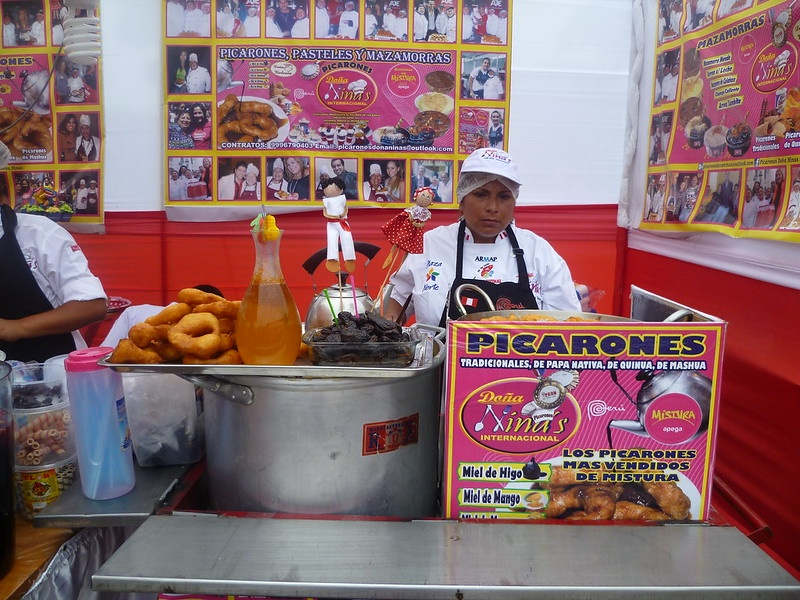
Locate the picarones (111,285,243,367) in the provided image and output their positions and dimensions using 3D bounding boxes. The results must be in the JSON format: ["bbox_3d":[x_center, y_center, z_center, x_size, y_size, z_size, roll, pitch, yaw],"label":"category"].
[{"bbox_3d":[-0.788,0.083,2.204,0.262,0.099,0.261,8,20,25],"label":"picarones"}]

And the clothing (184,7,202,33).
[{"bbox_3d":[-1.152,-1.567,3.561,0.122,0.119,0.067,3,11,-6],"label":"clothing"}]

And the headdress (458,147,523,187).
[{"bbox_3d":[0.424,-0.617,2.945,0.264,0.162,0.167,0,13,-4],"label":"headdress"}]

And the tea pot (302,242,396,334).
[{"bbox_3d":[-0.160,-0.056,2.419,0.416,0.402,0.259,1,-2,-36],"label":"tea pot"}]

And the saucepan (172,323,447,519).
[{"bbox_3d":[-0.252,0.338,1.901,0.559,0.356,0.601,-2,-4,30],"label":"saucepan"}]

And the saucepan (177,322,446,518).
[{"bbox_3d":[-0.207,0.354,1.896,0.559,0.356,0.600,-2,-4,30],"label":"saucepan"}]

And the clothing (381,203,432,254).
[{"bbox_3d":[0.039,-0.271,2.538,0.137,0.204,0.242,8,15,28],"label":"clothing"}]
